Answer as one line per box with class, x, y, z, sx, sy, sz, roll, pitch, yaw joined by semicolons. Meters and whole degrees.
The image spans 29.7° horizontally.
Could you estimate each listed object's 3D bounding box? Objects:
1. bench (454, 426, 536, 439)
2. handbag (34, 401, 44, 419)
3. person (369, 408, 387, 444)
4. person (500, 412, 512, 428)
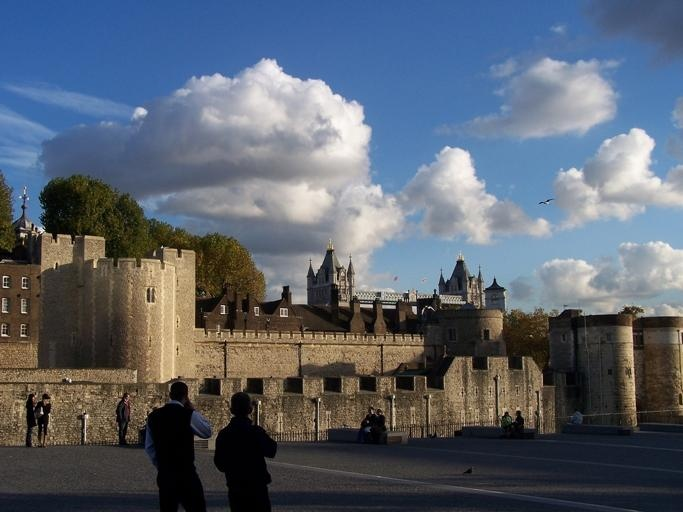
bench;8.022;9.137;67.357;4.361;0.702;1.445;-7;-10;37
handbag;-14.754;7.489;63.078;0.343;1.082;0.345;-35;-43;29
person;1.906;8.459;63.452;0.629;1.368;0.745;3;-8;-24
person;8.786;8.494;67.592;0.559;0.900;2.043;-2;-8;7
